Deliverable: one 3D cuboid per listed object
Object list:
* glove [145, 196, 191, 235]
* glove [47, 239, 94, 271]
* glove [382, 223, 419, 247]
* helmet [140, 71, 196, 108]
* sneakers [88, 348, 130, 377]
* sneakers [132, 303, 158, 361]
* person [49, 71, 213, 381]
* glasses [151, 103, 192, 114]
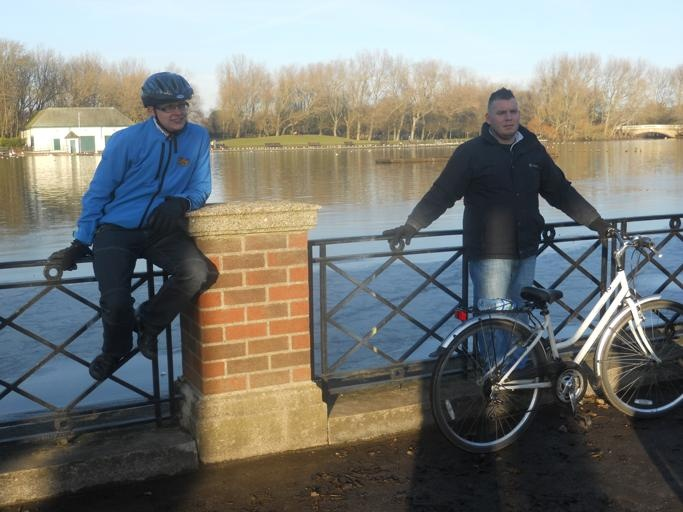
[{"bbox_3d":[-1.104,-0.255,5.546,0.274,0.229,0.122,-4,10,-14],"label":"glove"},{"bbox_3d":[-1.719,0.001,5.535,0.171,0.072,0.247,3,18,14],"label":"glove"},{"bbox_3d":[0.415,-0.145,6.137,0.256,0.170,0.217,-1,10,-2],"label":"glove"},{"bbox_3d":[-1.124,-1.065,5.574,0.323,0.220,0.369,-4,10,-13],"label":"helmet"},{"bbox_3d":[-1.497,0.702,5.624,0.268,0.225,0.174,-4,10,-16],"label":"sneakers"},{"bbox_3d":[-1.272,0.504,5.680,0.134,0.382,0.164,-15,10,-42],"label":"sneakers"},{"bbox_3d":[-1.320,-0.176,5.646,0.985,1.992,0.567,-3,10,-11],"label":"person"},{"bbox_3d":[-1.090,-0.952,5.587,0.233,0.068,0.132,-5,11,-21],"label":"glasses"}]
